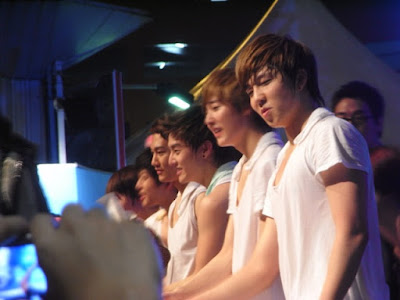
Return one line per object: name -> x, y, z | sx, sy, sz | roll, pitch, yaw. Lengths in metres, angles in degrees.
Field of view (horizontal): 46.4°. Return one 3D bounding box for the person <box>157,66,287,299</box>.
person -> 0.014, 0.171, 2.228 | 0.703, 1.189, 0.669 | 1, -6, 2
